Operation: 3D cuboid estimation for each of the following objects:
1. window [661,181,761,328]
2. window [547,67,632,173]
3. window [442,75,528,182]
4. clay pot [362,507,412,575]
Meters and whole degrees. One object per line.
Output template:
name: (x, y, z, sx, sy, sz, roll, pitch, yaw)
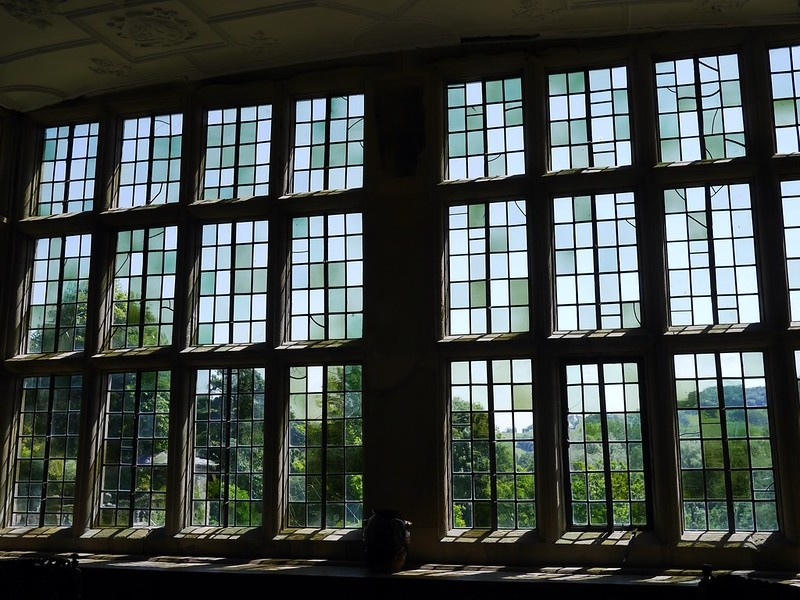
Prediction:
window: (3.811, -0.554, 13.211, 1.036, 1.689, 0.220, -3, -13, 4)
window: (2.450, -2.252, 13.703, 1.509, 1.758, 0.219, -2, -7, 13)
window: (1.143, -2.186, 13.933, 1.555, 1.692, 0.068, -1, -5, 17)
clay pot: (-0.156, 2.870, 12.830, 0.546, 0.733, 0.209, -1, -13, -2)
